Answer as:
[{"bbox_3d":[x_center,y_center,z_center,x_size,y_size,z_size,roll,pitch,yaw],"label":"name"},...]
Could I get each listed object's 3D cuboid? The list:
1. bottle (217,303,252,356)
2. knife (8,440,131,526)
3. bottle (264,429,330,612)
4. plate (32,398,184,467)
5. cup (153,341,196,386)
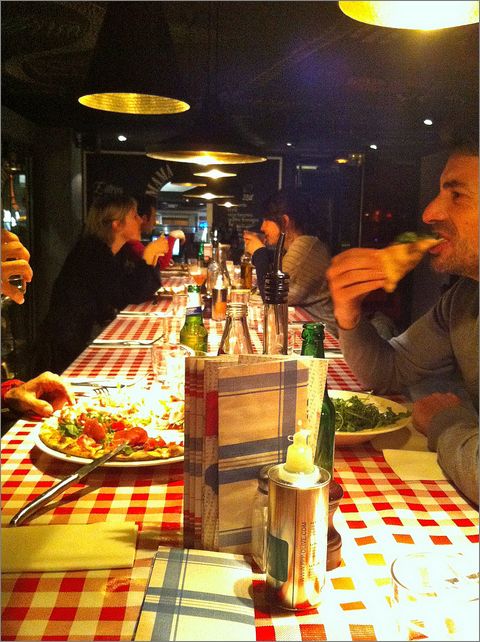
[{"bbox_3d":[-0.009,0.041,1.121,0.079,0.161,0.072,1,-12,0],"label":"bottle"},{"bbox_3d":[-0.245,0.235,0.723,0.031,0.016,0.190,31,22,20],"label":"knife"},{"bbox_3d":[0.054,0.193,0.465,0.057,0.183,0.049,1,4,4],"label":"bottle"},{"bbox_3d":[-0.250,0.191,0.895,0.191,0.195,0.028,-19,42,4],"label":"plate"},{"bbox_3d":[-0.181,0.104,1.249,0.137,0.101,0.142,0,-3,0],"label":"cup"}]
